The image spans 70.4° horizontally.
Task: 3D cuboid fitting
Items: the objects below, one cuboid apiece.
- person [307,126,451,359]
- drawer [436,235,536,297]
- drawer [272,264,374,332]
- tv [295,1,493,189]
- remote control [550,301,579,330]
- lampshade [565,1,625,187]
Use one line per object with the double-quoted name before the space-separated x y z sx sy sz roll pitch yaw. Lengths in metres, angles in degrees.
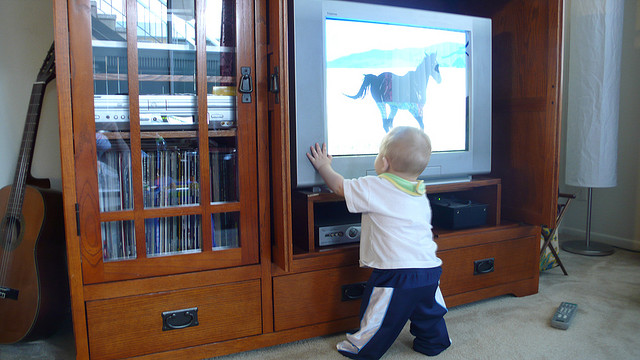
"person" 0.379 0.373 2.702 0.700 1.359 0.347 -5 7 2
"drawer" 1.111 0.582 3.053 0.693 0.315 0.377 -5 12 -21
"drawer" -0.013 0.704 2.764 0.703 0.316 0.381 -4 9 -23
"tv" 0.429 -0.548 2.912 1.336 1.018 0.485 -3 6 -25
"remote control" 1.592 0.873 2.945 0.104 0.053 0.248 9 25 41
"lampshade" 2.269 -0.719 3.767 0.410 1.561 0.266 -1 8 31
